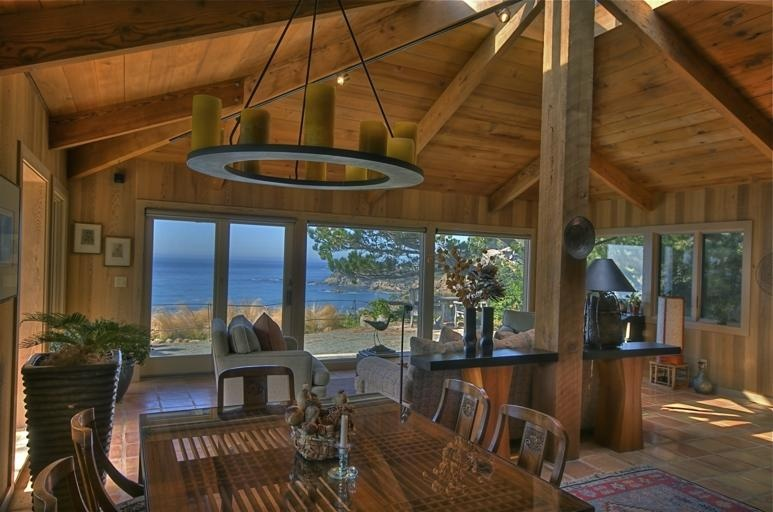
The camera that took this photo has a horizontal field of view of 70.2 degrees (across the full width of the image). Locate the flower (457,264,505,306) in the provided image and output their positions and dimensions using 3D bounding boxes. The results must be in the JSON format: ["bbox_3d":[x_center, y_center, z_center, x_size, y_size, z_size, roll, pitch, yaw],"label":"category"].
[{"bbox_3d":[0.976,0.299,5.624,0.503,0.448,0.402,3,3,41],"label":"flower"}]

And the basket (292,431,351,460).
[{"bbox_3d":[-0.448,1.177,3.448,0.262,0.103,0.214,3,-8,-4],"label":"basket"}]

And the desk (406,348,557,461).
[{"bbox_3d":[1.084,1.527,5.330,1.227,0.999,0.505,-4,-18,7],"label":"desk"}]

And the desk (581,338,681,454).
[{"bbox_3d":[2.405,1.378,6.196,1.535,1.254,1.041,1,-4,-12],"label":"desk"}]

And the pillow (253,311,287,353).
[{"bbox_3d":[-1.268,0.904,6.381,0.360,0.445,0.653,17,-4,2],"label":"pillow"}]

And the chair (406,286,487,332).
[{"bbox_3d":[0.876,0.984,9.622,1.265,0.760,0.683,2,-5,-18],"label":"chair"}]

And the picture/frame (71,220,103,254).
[{"bbox_3d":[-3.960,-0.241,7.242,0.496,0.571,0.063,3,-3,-33],"label":"picture/frame"}]

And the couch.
[{"bbox_3d":[0.923,1.153,6.078,1.226,0.761,2.302,4,0,-32],"label":"couch"}]

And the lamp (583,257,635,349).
[{"bbox_3d":[2.442,0.557,6.211,0.742,1.093,0.709,1,10,8],"label":"lamp"}]

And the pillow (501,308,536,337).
[{"bbox_3d":[1.981,0.996,8.363,0.473,0.541,0.488,-1,-17,18],"label":"pillow"}]

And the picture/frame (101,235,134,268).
[{"bbox_3d":[-3.638,-0.059,7.409,0.506,0.551,0.042,1,-2,-28],"label":"picture/frame"}]

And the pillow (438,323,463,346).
[{"bbox_3d":[0.650,0.828,5.686,0.278,0.254,0.103,2,-46,2],"label":"pillow"}]

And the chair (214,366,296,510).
[{"bbox_3d":[-0.866,1.207,3.629,0.603,0.893,0.666,2,-10,-18],"label":"chair"}]

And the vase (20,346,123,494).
[{"bbox_3d":[-2.598,1.419,4.863,0.777,1.008,0.837,2,2,-16],"label":"vase"}]
